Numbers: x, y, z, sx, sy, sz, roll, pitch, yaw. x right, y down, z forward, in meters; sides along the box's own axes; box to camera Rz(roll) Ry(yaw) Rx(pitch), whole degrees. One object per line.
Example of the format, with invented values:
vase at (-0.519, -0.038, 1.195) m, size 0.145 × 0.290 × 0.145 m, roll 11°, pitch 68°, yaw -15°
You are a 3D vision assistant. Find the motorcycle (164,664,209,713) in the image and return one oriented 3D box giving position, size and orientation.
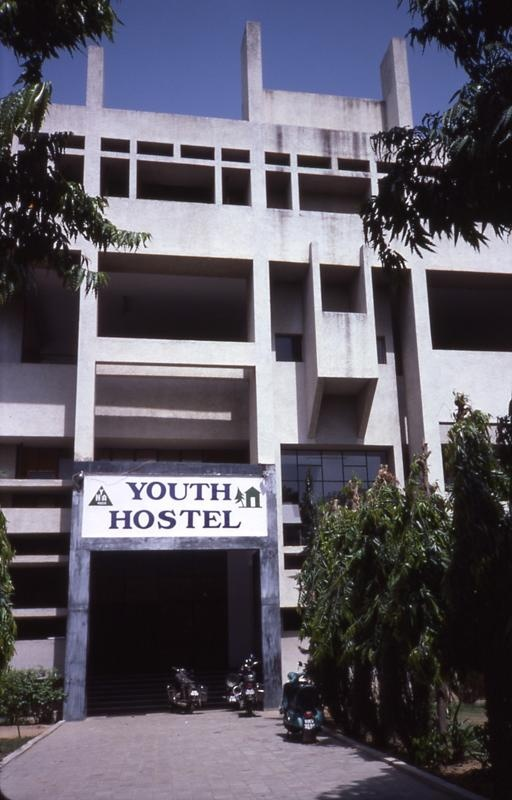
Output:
motorcycle at (-1.893, 7.374, 17.493) m, size 0.687 × 1.325 × 1.835 m, roll 7°, pitch -17°, yaw -19°

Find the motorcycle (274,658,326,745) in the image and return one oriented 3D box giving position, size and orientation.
motorcycle at (0.712, 5.226, 11.849) m, size 0.527 × 1.364 × 1.845 m, roll -2°, pitch -11°, yaw -7°
